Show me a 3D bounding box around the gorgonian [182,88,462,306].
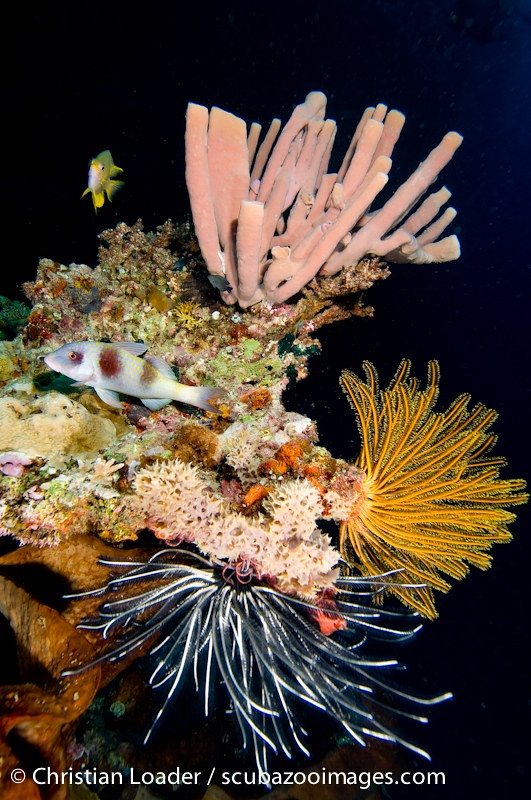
[{"bbox_3d":[0.368,-1.821,6.820,2.486,1.833,2.186,-14,62,-29],"label":"gorgonian"}]

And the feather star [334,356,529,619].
[{"bbox_3d":[1.568,0.932,7.187,1.827,2.065,2.544,4,103,6],"label":"feather star"}]

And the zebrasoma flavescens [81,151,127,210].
[{"bbox_3d":[-1.801,-2.455,7.406,0.462,0.513,0.764,1,107,-4],"label":"zebrasoma flavescens"}]
